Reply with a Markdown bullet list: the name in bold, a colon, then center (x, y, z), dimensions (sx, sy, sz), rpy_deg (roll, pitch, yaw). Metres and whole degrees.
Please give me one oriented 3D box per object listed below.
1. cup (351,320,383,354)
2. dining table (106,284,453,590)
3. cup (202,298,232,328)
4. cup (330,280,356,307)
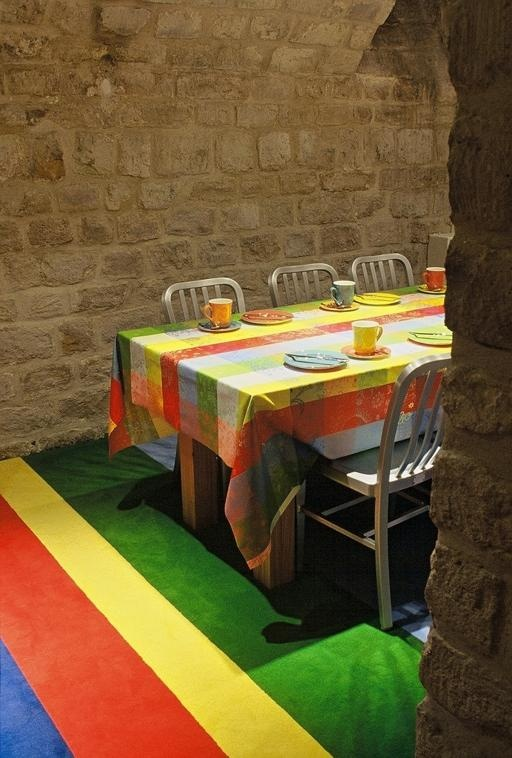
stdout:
- **cup**: center (0.368, -0.153, 1.912), dimensions (0.089, 0.096, 0.129), rpy_deg (-13, 28, -22)
- **dining table**: center (0.290, 0.053, 2.168), dimensions (1.369, 0.424, 0.809), rpy_deg (-12, 22, -33)
- **cup**: center (-0.139, -0.278, 2.259), dimensions (0.089, 0.095, 0.135), rpy_deg (16, 30, 28)
- **cup**: center (0.377, -0.399, 2.526), dimensions (0.085, 0.121, 0.128), rpy_deg (21, 35, 38)
